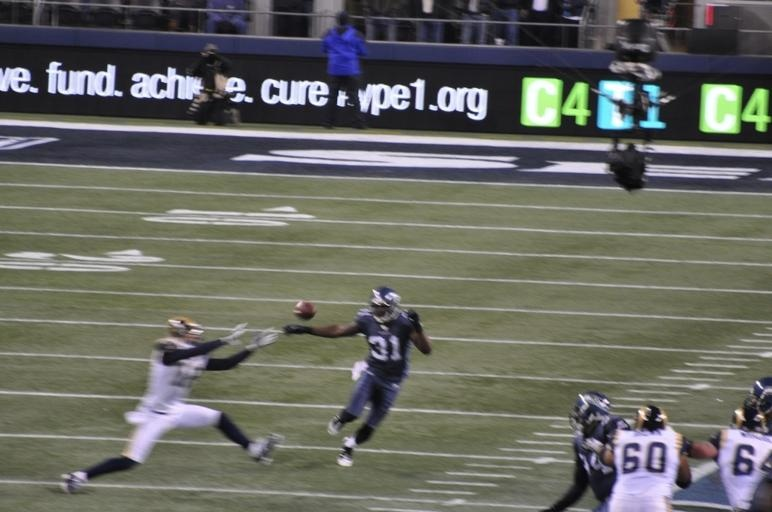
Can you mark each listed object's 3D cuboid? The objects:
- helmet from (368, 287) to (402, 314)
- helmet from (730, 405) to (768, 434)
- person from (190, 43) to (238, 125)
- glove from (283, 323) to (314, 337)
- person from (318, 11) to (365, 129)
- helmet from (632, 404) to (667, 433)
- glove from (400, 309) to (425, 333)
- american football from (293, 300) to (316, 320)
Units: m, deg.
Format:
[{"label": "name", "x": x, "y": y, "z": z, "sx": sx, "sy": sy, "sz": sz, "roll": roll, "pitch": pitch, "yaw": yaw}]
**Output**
[{"label": "helmet", "x": 0.006, "y": 0.789, "z": 36.911, "sx": 0.500, "sy": 0.421, "sz": 0.330, "roll": 2, "pitch": 3, "yaw": -2}, {"label": "helmet", "x": 6.132, "y": 2.771, "z": 34.765, "sx": 0.543, "sy": 0.371, "sz": 0.221, "roll": 31, "pitch": 47, "yaw": -5}, {"label": "person", "x": -4.144, "y": -4.186, "z": 50.979, "sx": 1.248, "sy": 1.852, "sz": 1.180, "roll": 3, "pitch": 3, "yaw": -4}, {"label": "glove", "x": -1.526, "y": 1.336, "z": 36.636, "sx": 0.397, "sy": 0.082, "sz": 0.234, "roll": 12, "pitch": -2, "yaw": -4}, {"label": "person", "x": -1.013, "y": -4.579, "z": 50.351, "sx": 1.052, "sy": 2.782, "sz": 1.255, "roll": 3, "pitch": 4, "yaw": -1}, {"label": "helmet", "x": 4.482, "y": 2.728, "z": 34.709, "sx": 0.600, "sy": 0.473, "sz": 0.398, "roll": -22, "pitch": 8, "yaw": 10}, {"label": "glove", "x": 0.584, "y": 1.194, "z": 36.910, "sx": 0.479, "sy": 0.138, "sz": 0.281, "roll": 44, "pitch": -7, "yaw": -36}, {"label": "american football", "x": -1.373, "y": 0.991, "z": 36.840, "sx": 0.408, "sy": 0.211, "sz": 0.392, "roll": 4, "pitch": -16, "yaw": 36}]
